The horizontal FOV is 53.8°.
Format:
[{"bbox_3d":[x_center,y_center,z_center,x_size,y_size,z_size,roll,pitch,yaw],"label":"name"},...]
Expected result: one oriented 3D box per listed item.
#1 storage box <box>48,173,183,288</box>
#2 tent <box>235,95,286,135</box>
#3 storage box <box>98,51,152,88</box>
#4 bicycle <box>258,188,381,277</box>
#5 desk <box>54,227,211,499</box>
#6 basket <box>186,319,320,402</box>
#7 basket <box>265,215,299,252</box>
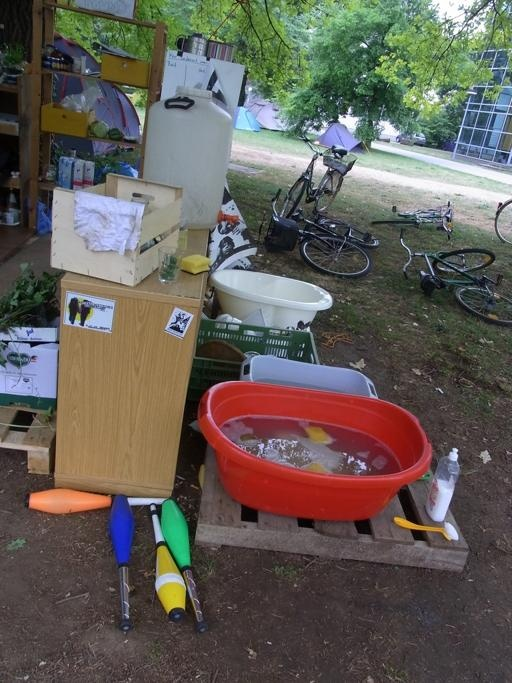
[{"bbox_3d":[-0.530,-0.438,1.943,0.375,0.332,0.510,12,22,-2],"label":"storage box"},{"bbox_3d":[0.435,-10.340,23.005,2.117,1.771,6.180,11,22,-4],"label":"tent"},{"bbox_3d":[-1.267,-2.597,4.843,0.490,0.245,0.112,12,23,-2],"label":"storage box"},{"bbox_3d":[0.579,-1.161,6.239,1.549,0.807,0.994,31,25,31],"label":"bicycle"},{"bbox_3d":[-0.493,0.123,2.253,0.650,0.939,0.732,0,27,-7],"label":"desk"},{"bbox_3d":[-0.105,0.061,3.282,0.943,0.463,0.824,4,20,-4],"label":"basket"},{"bbox_3d":[0.249,-1.264,6.056,0.463,0.450,0.364,0,35,-3],"label":"basket"}]
